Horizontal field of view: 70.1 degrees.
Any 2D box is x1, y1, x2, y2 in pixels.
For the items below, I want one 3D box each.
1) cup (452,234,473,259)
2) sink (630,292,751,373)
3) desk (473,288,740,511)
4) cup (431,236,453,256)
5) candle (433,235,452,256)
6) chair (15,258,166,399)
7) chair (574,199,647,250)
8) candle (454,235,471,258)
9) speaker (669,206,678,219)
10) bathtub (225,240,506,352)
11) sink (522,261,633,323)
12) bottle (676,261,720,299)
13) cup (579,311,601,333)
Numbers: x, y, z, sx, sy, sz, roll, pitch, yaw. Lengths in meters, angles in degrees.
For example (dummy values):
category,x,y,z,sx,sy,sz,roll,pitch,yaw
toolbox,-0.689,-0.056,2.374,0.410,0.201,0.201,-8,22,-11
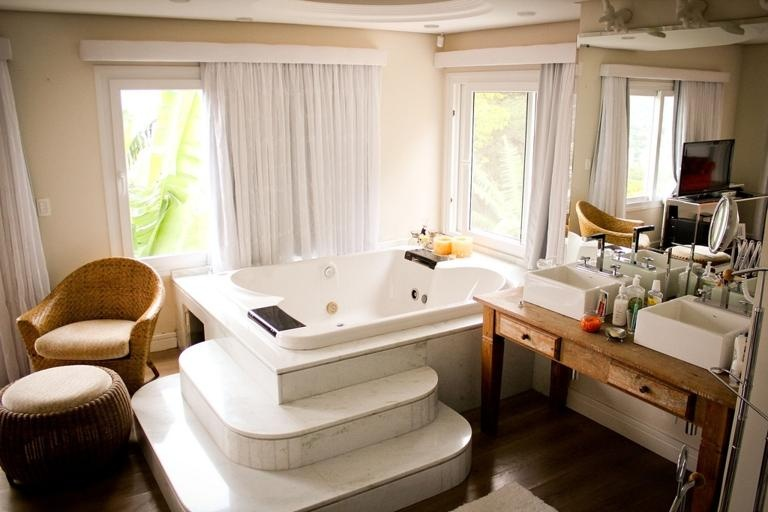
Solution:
category,x,y,z,sx,sy,sz,roll,pitch,yaw
cup,0.703,-0.080,4.939,0.183,0.143,0.178,1,10,0
sink,1.685,0.409,2.943,0.490,0.197,0.467,-6,16,-34
desk,1.297,0.850,3.179,0.578,0.683,1.112,-12,20,-32
cup,0.532,-0.089,5.036,0.168,0.113,0.163,0,18,0
candle,0.527,-0.110,5.045,0.173,0.117,0.166,-1,19,-5
chair,-2.174,0.588,4.106,0.967,0.906,0.929,-8,18,-38
chair,1.544,-0.144,3.673,0.463,0.415,0.366,1,10,35
candle,0.690,-0.090,5.010,0.163,0.162,0.171,8,25,19
speaker,1.725,-0.261,3.265,0.051,0.092,0.050,10,47,21
bathtub,-0.330,0.280,4.711,1.400,0.399,0.982,-12,22,-30
sink,1.151,0.198,3.357,0.394,0.158,0.386,-12,22,-32
bottle,1.797,0.134,3.122,0.093,0.154,0.168,-13,22,-26
cup,1.174,0.375,3.133,0.100,0.083,0.097,-2,13,1
